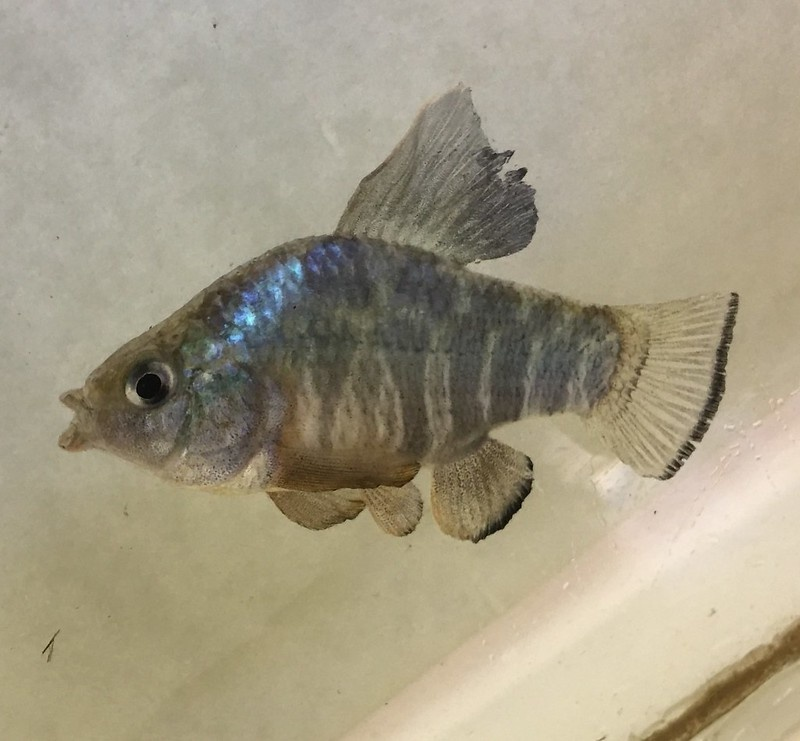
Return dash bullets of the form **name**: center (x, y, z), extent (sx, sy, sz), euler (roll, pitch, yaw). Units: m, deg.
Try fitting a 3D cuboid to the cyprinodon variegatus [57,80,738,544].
- **cyprinodon variegatus**: center (-0.006, -0.076, 2.476), extent (1.111, 0.691, 0.256), euler (-11, -2, -13)
